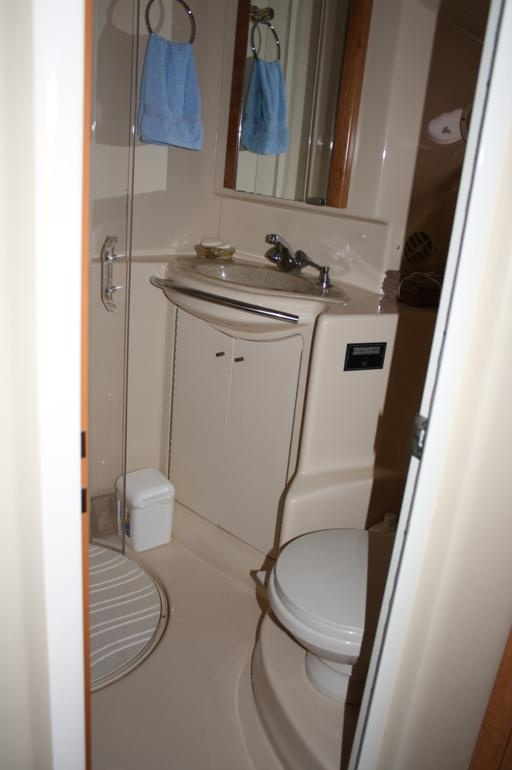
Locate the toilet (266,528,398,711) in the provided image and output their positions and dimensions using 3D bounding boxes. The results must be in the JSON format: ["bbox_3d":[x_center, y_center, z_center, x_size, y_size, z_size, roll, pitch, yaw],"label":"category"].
[{"bbox_3d":[0.169,0.567,1.269,0.255,0.349,0.377,8,15,19],"label":"toilet"}]

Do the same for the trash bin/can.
[{"bbox_3d":[-0.401,0.433,1.899,0.163,0.244,0.188,-2,23,-21],"label":"trash bin/can"}]

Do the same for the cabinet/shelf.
[{"bbox_3d":[-0.036,0.119,1.838,0.388,0.743,0.301,16,24,22],"label":"cabinet/shelf"}]

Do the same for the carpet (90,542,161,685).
[{"bbox_3d":[-0.374,0.671,1.546,0.164,0.016,0.338,-2,15,-22],"label":"carpet"}]

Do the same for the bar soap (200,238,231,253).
[{"bbox_3d":[-0.152,-0.537,2.047,0.130,0.045,0.118,1,16,-13],"label":"bar soap"}]

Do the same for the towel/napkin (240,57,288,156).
[{"bbox_3d":[0.032,-0.949,1.840,0.173,0.323,0.079,-8,19,-25],"label":"towel/napkin"}]
